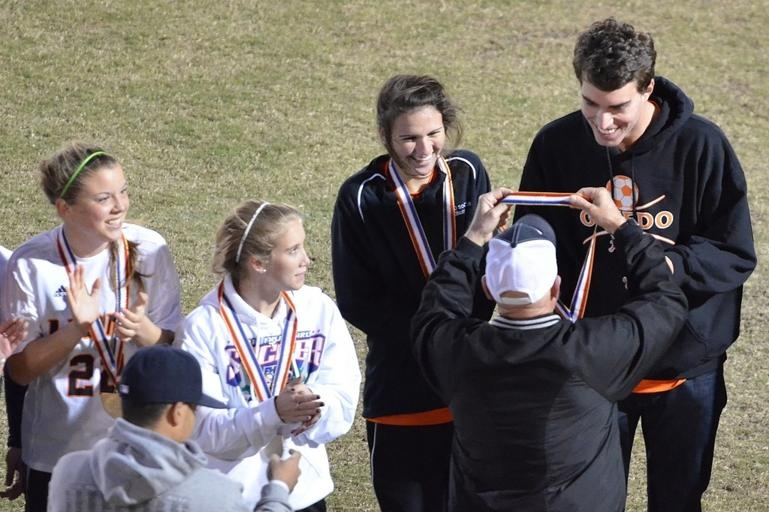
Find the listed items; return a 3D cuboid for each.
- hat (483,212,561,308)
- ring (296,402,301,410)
[{"bbox_3d":[0.919,-0.079,7.819,0.571,0.302,0.757,-1,50,19],"label":"hat"},{"bbox_3d":[-0.600,1.027,7.877,0.065,0.057,0.016,-1,3,-6],"label":"ring"}]
